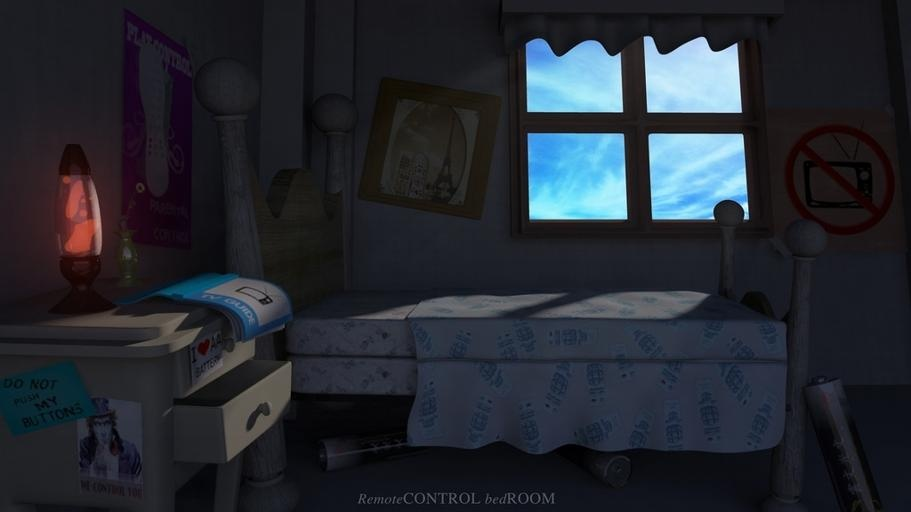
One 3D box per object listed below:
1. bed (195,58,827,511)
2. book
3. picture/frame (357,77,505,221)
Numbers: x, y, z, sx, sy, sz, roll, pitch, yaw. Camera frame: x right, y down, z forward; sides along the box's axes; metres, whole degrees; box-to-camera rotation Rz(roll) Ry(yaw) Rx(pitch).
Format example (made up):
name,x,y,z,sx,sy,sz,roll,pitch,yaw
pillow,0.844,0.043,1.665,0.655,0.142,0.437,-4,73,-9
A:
name,x,y,z,sx,sy,sz,roll,pitch,yaw
bed,0.538,0.025,4.716,3.790,2.638,2.741,0,6,-1
book,-1.378,0.261,3.325,0.801,0.240,0.486,5,13,16
picture/frame,-0.210,-0.964,5.137,1.089,1.060,0.073,9,2,-3
